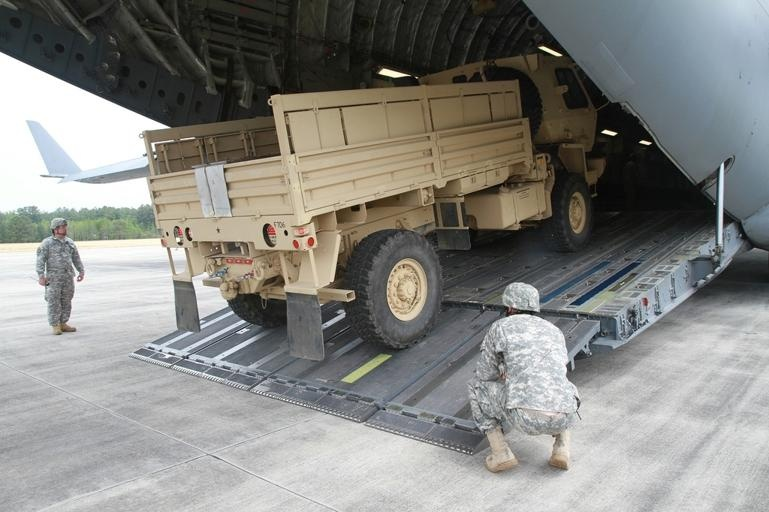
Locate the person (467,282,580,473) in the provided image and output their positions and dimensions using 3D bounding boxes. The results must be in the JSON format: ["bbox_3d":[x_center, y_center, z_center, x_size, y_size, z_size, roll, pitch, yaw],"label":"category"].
[{"bbox_3d":[1.057,0.965,3.274,0.803,1.483,0.488,-2,11,21],"label":"person"}]

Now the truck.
[{"bbox_3d":[0.972,-1.526,7.357,8.237,3.089,4.111,-22,25,-37],"label":"truck"}]

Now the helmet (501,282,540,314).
[{"bbox_3d":[1.094,0.299,3.412,0.246,0.201,0.316,-4,22,-37],"label":"helmet"}]
